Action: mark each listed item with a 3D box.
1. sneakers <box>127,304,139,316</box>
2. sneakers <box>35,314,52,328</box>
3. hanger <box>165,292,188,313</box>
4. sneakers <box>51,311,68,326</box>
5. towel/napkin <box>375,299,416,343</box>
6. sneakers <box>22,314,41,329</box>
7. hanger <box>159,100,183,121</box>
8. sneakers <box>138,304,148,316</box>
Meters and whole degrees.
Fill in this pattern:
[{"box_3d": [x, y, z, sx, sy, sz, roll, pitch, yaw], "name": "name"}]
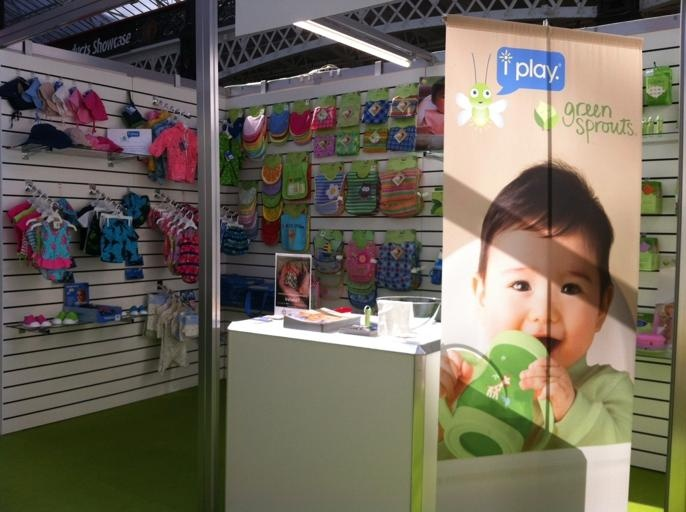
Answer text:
[{"box_3d": [-2.180, 0.578, 5.438, 0.075, 0.090, 0.128, 3, -8, -18], "name": "sneakers"}, {"box_3d": [-2.737, 0.593, 4.792, 0.087, 0.074, 0.166, 2, 7, -44], "name": "sneakers"}, {"box_3d": [-1.803, 0.519, 5.660, 0.153, 0.063, 0.197, -18, 47, -44], "name": "hanger"}, {"box_3d": [-2.659, 0.595, 4.894, 0.070, 0.081, 0.183, 2, 4, -12], "name": "sneakers"}, {"box_3d": [0.298, 0.370, 2.999, 0.183, 0.198, 0.195, 3, 1, 28], "name": "towel/napkin"}, {"box_3d": [-2.819, 0.602, 4.754, 0.170, 0.094, 0.216, -7, 12, -34], "name": "sneakers"}, {"box_3d": [-1.903, -1.593, 5.738, 0.168, 0.225, 0.252, 2, 10, 13], "name": "hanger"}, {"box_3d": [-2.122, 0.575, 5.532, 0.077, 0.051, 0.115, 3, 10, -3], "name": "sneakers"}]
